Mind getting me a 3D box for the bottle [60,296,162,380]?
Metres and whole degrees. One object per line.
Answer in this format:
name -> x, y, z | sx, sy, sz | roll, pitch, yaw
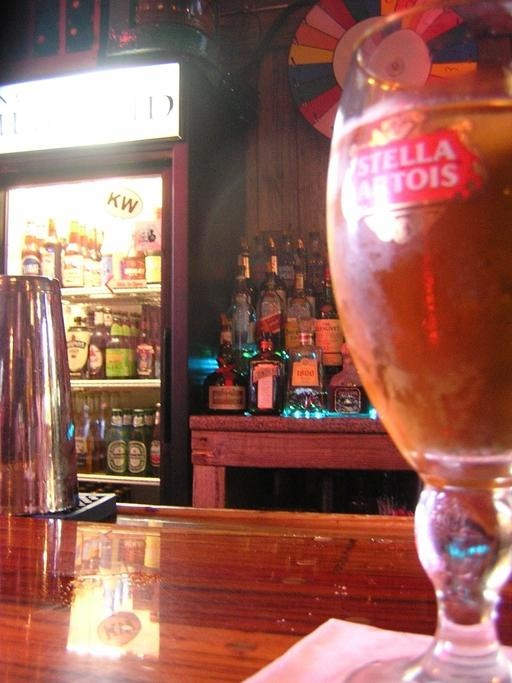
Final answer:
bottle -> -0.507, -0.007, 2.455 | 0.306, 0.295, 0.169 | 0, 1, 18
